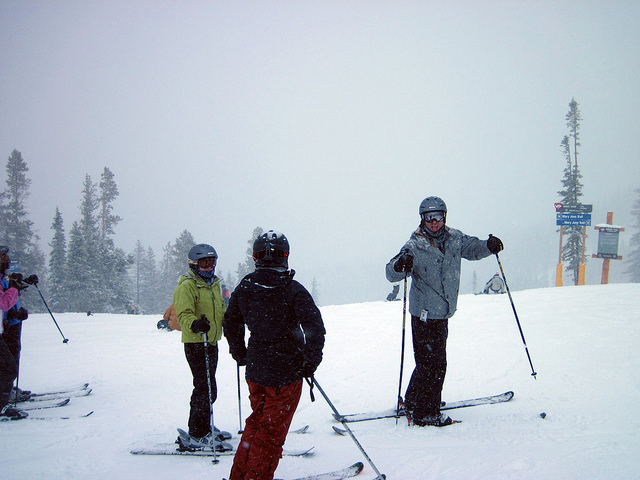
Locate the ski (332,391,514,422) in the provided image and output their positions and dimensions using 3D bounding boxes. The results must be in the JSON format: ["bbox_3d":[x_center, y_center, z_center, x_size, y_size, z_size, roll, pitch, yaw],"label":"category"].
[{"bbox_3d":[2.092,3.219,10.880,2.422,0.214,0.287,-11,-12,-1],"label":"ski"}]

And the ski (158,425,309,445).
[{"bbox_3d":[-1.002,3.594,10.508,1.577,0.142,0.243,-2,-1,-13],"label":"ski"}]

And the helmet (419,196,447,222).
[{"bbox_3d":[2.097,-0.569,10.598,0.331,0.432,0.454,2,12,6],"label":"helmet"}]

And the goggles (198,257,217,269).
[{"bbox_3d":[-2.101,0.442,10.532,0.299,0.211,0.091,-2,-1,-18],"label":"goggles"}]

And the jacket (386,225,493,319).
[{"bbox_3d":[2.307,0.680,10.741,2.122,1.911,1.317,-10,10,-14],"label":"jacket"}]
